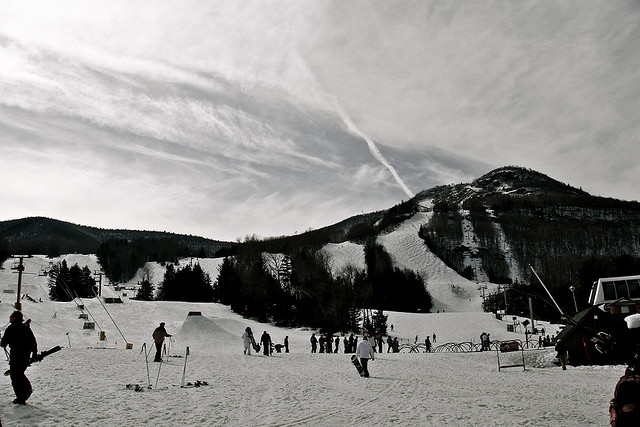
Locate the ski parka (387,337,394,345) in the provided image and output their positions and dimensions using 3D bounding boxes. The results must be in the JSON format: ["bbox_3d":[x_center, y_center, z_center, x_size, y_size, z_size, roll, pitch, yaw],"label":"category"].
[{"bbox_3d":[6.205,11.489,46.114,0.441,0.570,0.795,-13,1,14],"label":"ski parka"}]

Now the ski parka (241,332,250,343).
[{"bbox_3d":[-5.298,8.905,37.303,0.446,0.702,0.818,1,-14,-11],"label":"ski parka"}]

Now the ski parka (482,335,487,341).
[{"bbox_3d":[14.580,11.016,45.953,0.202,0.505,0.178,18,-10,17],"label":"ski parka"}]

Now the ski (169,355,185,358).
[{"bbox_3d":[-8.855,8.954,32.439,0.794,0.166,0.067,7,-45,7],"label":"ski"}]

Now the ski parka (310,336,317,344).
[{"bbox_3d":[-0.564,10.690,43.868,0.368,0.623,0.633,-1,-13,-2],"label":"ski parka"}]

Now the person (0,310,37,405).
[{"bbox_3d":[-11.624,5.564,20.027,1.229,3.548,1.197,6,-15,-27],"label":"person"}]

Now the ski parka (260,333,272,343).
[{"bbox_3d":[-4.117,9.150,38.137,0.992,0.946,0.543,-1,-7,15],"label":"ski parka"}]
